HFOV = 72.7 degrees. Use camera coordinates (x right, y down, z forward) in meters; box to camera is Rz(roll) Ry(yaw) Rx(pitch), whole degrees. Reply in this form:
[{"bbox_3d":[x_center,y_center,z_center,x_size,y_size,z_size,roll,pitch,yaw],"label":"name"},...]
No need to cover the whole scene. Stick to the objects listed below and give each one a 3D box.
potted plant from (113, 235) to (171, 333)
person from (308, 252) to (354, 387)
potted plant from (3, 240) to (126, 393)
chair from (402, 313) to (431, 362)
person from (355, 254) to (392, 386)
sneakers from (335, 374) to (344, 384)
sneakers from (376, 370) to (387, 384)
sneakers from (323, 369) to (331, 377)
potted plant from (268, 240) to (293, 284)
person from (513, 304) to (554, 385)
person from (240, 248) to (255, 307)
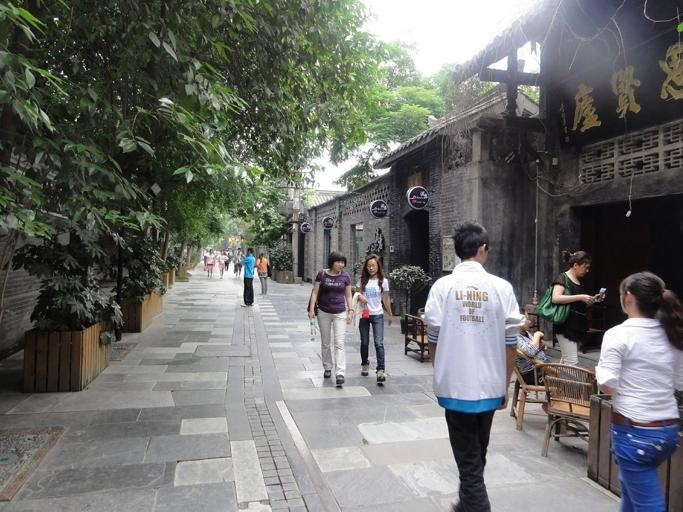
[{"bbox_3d":[-5.001,0.598,11.615,0.702,2.182,2.235,5,2,-10],"label":"potted plant"},{"bbox_3d":[-0.143,0.976,7.256,0.590,2.051,0.660,2,3,15],"label":"person"},{"bbox_3d":[-3.930,0.793,6.773,0.855,2.256,1.335,2,3,17],"label":"potted plant"},{"bbox_3d":[1.560,1.620,9.206,0.395,0.783,1.006,1,-2,-3],"label":"chair"},{"bbox_3d":[0.513,1.007,7.622,0.565,1.983,1.091,1,3,5],"label":"person"},{"bbox_3d":[-0.019,1.902,7.124,0.147,0.177,0.256,1,3,1],"label":"sneakers"},{"bbox_3d":[0.611,1.930,7.288,0.081,0.177,0.255,1,-23,-4],"label":"sneakers"},{"bbox_3d":[-0.232,1.924,7.490,0.107,0.111,0.112,3,4,6],"label":"sneakers"},{"bbox_3d":[-3.882,0.482,29.550,1.109,2.466,1.939,-1,3,-30],"label":"potted plant"},{"bbox_3d":[2.498,1.177,6.013,0.488,0.664,1.515,-4,-40,21],"label":"person"},{"bbox_3d":[-3.207,0.786,16.014,0.343,2.076,1.154,0,3,-12],"label":"person"}]
